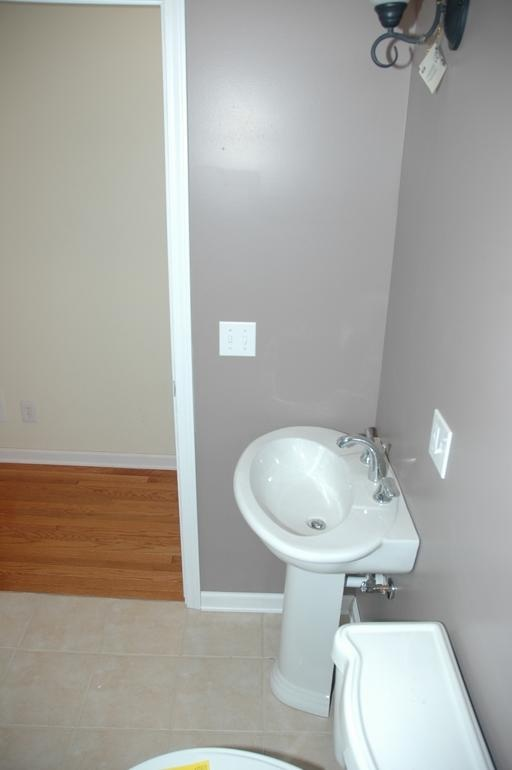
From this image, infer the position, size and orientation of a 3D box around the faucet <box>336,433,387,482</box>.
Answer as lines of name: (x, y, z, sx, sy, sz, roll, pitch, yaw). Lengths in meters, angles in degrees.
faucet: (0.255, 0.175, 1.492, 0.114, 0.093, 0.150, 5, 43, -8)

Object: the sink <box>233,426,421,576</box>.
sink: (0.165, 0.320, 1.535, 0.427, 0.212, 0.588, -1, 22, 1)
